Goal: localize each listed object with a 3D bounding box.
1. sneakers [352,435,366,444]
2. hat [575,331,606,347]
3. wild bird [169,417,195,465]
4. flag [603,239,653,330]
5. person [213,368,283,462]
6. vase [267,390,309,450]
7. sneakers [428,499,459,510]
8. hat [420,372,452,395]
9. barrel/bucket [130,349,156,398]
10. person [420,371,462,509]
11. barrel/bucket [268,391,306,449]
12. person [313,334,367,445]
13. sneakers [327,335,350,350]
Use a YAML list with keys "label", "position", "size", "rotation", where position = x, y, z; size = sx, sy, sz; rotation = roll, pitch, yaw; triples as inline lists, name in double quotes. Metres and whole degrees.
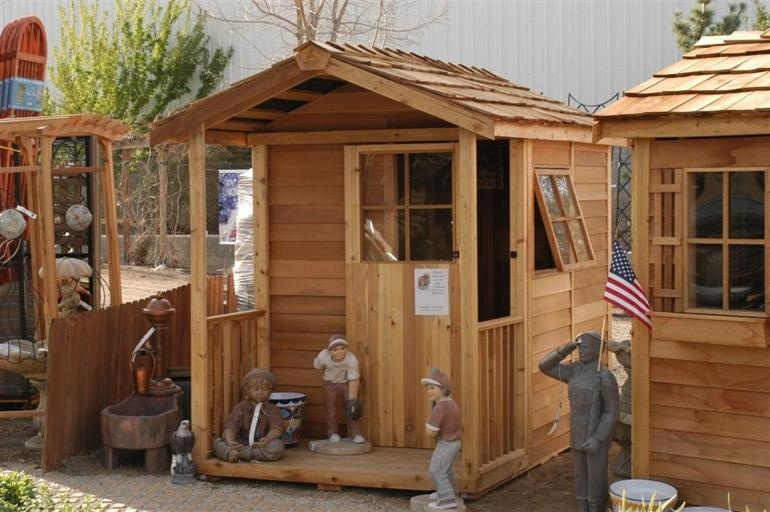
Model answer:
- label: "sneakers"
  position: [-0.285, 2.043, 9.495]
  size: [0.143, 0.058, 0.145]
  rotation: [2, 1, -3]
- label: "hat"
  position: [2.020, 0.785, 8.202]
  size: [0.258, 0.084, 0.223]
  rotation: [3, -5, -21]
- label: "wild bird"
  position: [-2.158, 2.020, 9.137]
  size: [0.285, 0.523, 0.262]
  rotation: [1, 1, -40]
- label: "flag"
  position: [2.253, 0.267, 7.934]
  size: [0.572, 0.670, 0.314]
  rotation: [1, 1, -41]
- label: "person"
  position: [-1.419, 1.771, 9.600]
  size: [1.032, 1.203, 0.887]
  rotation: [1, -2, -1]
- label: "vase"
  position: [-0.959, 1.943, 9.796]
  size: [0.559, 0.576, 0.530]
  rotation: [7, -18, -20]
- label: "sneakers"
  position: [0.566, 2.417, 8.327]
  size: [0.246, 0.092, 0.124]
  rotation: [1, -2, 9]
- label: "hat"
  position: [0.552, 1.241, 8.468]
  size: [0.289, 0.167, 0.199]
  rotation: [29, -19, -13]
- label: "barrel/bucket"
  position: [-2.843, 1.313, 10.003]
  size: [0.258, 0.510, 0.907]
  rotation: [2, 1, -16]
- label: "person"
  position: [0.568, 1.804, 8.400]
  size: [0.425, 0.991, 0.254]
  rotation: [2, 1, 3]
- label: "barrel/bucket"
  position: [-1.052, 1.870, 9.685]
  size: [0.537, 0.543, 0.523]
  rotation: [0, 3, 0]
- label: "person"
  position: [-0.501, 1.479, 9.629]
  size: [0.606, 0.792, 0.458]
  rotation: [2, 1, -3]
- label: "sneakers"
  position: [-0.523, 0.963, 9.506]
  size: [0.177, 0.129, 0.170]
  rotation: [1, -18, -8]
